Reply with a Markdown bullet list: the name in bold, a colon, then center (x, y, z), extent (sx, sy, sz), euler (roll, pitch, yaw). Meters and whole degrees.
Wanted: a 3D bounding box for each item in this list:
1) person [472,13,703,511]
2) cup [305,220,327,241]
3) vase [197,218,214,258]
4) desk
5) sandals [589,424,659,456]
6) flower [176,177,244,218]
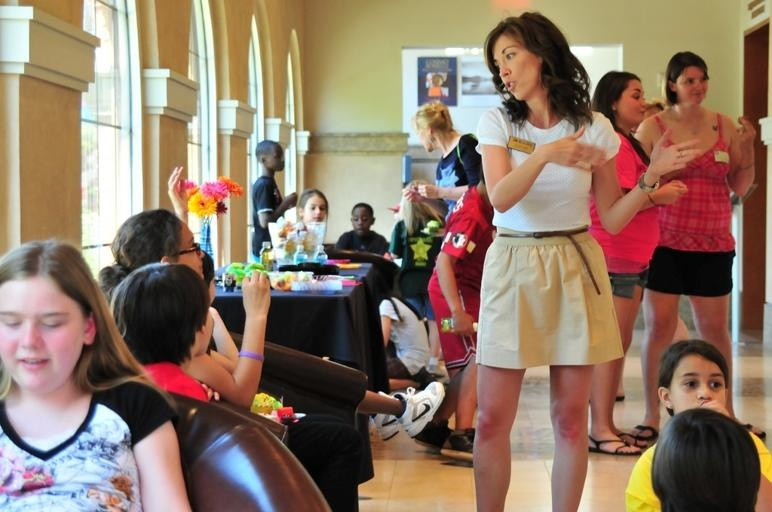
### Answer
- **person**: center (0.654, 0.056, 2.456), extent (0.629, 1.953, 0.400), euler (2, 3, 13)
- **cup**: center (-0.513, -0.180, 4.471), extent (0.184, 0.160, 0.147), euler (-2, -1, 11)
- **vase**: center (-1.137, -0.105, 4.120), extent (0.104, 0.261, 0.108), euler (14, 19, 34)
- **desk**: center (-0.476, 0.454, 3.694), extent (0.830, 0.418, 0.831), euler (-1, 2, 11)
- **sandals**: center (1.347, 1.072, 3.671), extent (0.359, 0.084, 0.268), euler (0, 6, 23)
- **flower**: center (-1.104, -0.378, 4.163), extent (0.320, 0.319, 0.300), euler (-12, 41, -23)
